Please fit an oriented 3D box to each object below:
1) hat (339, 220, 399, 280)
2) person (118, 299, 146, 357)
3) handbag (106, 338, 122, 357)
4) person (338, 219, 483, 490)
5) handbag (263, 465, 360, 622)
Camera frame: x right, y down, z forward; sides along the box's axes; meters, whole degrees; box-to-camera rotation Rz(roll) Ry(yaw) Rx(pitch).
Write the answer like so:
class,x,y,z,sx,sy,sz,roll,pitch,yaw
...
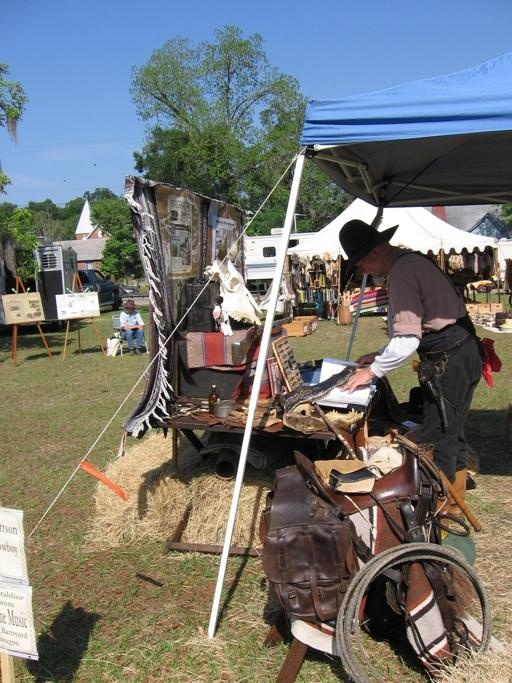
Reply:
class,x,y,z,sx,sy,sz,roll,pitch,yaw
hat,0.635,-0.516,2.989,0.279,0.127,0.326,-40,12,46
person,-2.693,-0.340,11.707,0.504,1.176,1.080,-8,9,-11
handbag,-3.020,0.122,11.520,0.399,0.418,0.332,3,10,10
person,0.855,0.140,2.992,0.741,1.670,0.733,-2,10,21
handbag,0.234,0.847,2.212,0.364,0.544,0.401,-4,9,7
